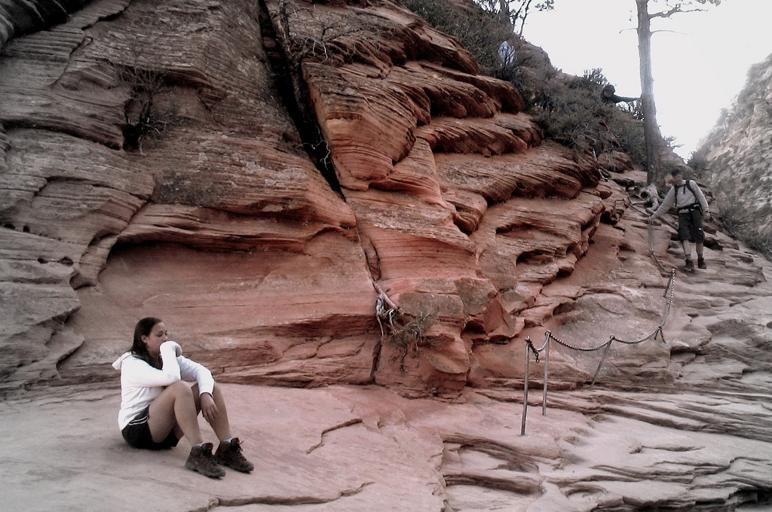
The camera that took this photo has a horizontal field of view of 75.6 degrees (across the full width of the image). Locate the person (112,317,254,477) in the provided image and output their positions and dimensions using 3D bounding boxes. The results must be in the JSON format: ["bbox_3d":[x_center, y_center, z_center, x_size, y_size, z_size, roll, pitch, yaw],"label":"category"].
[{"bbox_3d":[-2.339,1.539,5.577,1.371,1.672,0.478,0,-11,11],"label":"person"}]

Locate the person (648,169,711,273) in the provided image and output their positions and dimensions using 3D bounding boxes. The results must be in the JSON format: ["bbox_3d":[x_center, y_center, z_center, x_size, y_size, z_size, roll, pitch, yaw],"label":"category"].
[{"bbox_3d":[7.607,-0.895,12.799,1.105,2.653,1.400,-3,-12,26],"label":"person"}]

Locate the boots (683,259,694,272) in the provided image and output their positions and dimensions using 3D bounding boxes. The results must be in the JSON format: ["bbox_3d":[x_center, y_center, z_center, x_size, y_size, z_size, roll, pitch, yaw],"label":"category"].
[{"bbox_3d":[7.530,0.218,12.406,0.282,0.315,0.228,-1,-11,17],"label":"boots"}]
